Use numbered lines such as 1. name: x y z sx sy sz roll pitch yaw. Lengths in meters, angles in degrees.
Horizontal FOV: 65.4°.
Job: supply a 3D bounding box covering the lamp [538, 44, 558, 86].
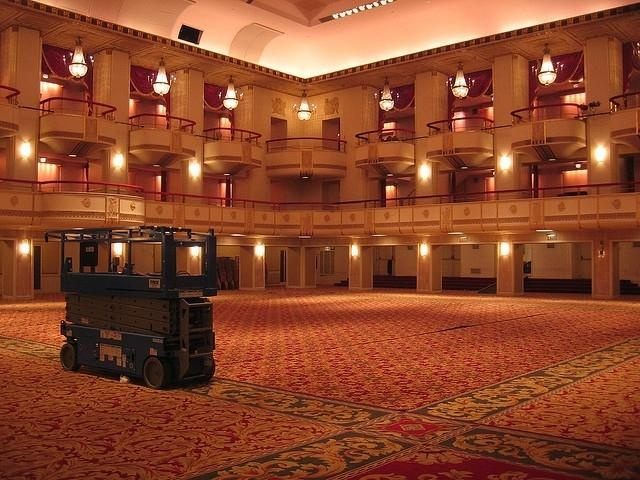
1. lamp: 9.792 -7.748 21.649 0.629 1.964 1.439 -1 -2 25
